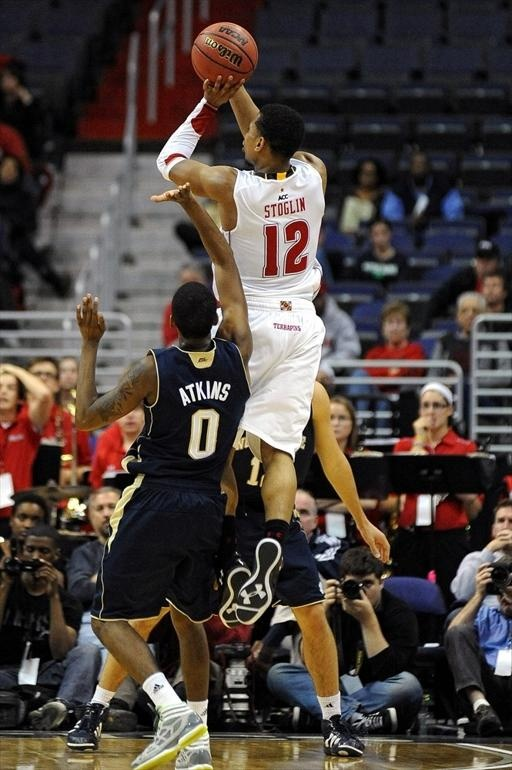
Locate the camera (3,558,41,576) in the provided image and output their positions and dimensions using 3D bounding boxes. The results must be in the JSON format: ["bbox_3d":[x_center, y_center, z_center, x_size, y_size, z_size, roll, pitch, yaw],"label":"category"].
[{"bbox_3d":[-1.384,1.085,6.065,0.220,0.125,0.244,2,-6,-15],"label":"camera"}]

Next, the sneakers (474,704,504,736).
[{"bbox_3d":[1.226,1.784,5.430,0.117,0.073,0.227,25,-5,2],"label":"sneakers"}]

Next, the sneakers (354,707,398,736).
[{"bbox_3d":[0.608,1.860,5.624,0.333,0.090,0.120,3,-31,-1],"label":"sneakers"}]

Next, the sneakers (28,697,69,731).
[{"bbox_3d":[-1.114,1.797,5.517,0.213,0.154,0.234,2,-6,-11],"label":"sneakers"}]

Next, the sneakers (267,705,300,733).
[{"bbox_3d":[0.169,1.978,6.007,0.210,0.118,0.197,-1,-2,9],"label":"sneakers"}]

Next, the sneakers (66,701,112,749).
[{"bbox_3d":[-0.703,1.452,4.368,0.105,0.115,0.283,8,-1,6],"label":"sneakers"}]

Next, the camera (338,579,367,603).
[{"bbox_3d":[0.536,1.169,5.740,0.099,0.146,0.148,-29,46,-18],"label":"camera"}]

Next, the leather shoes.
[{"bbox_3d":[0.032,0.771,4.064,0.155,0.356,0.152,24,-13,19],"label":"leather shoes"}]

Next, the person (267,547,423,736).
[{"bbox_3d":[0.523,1.523,5.990,0.958,0.898,0.718,1,3,12],"label":"person"}]

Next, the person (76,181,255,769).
[{"bbox_3d":[-0.342,0.353,4.084,0.662,2.300,0.655,-2,-7,26],"label":"person"}]

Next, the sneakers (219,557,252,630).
[{"bbox_3d":[-0.102,0.839,4.077,0.128,0.271,0.119,11,2,-6],"label":"sneakers"}]

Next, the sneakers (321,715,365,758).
[{"bbox_3d":[0.373,1.528,4.417,0.136,0.174,0.223,3,-6,-18],"label":"sneakers"}]
